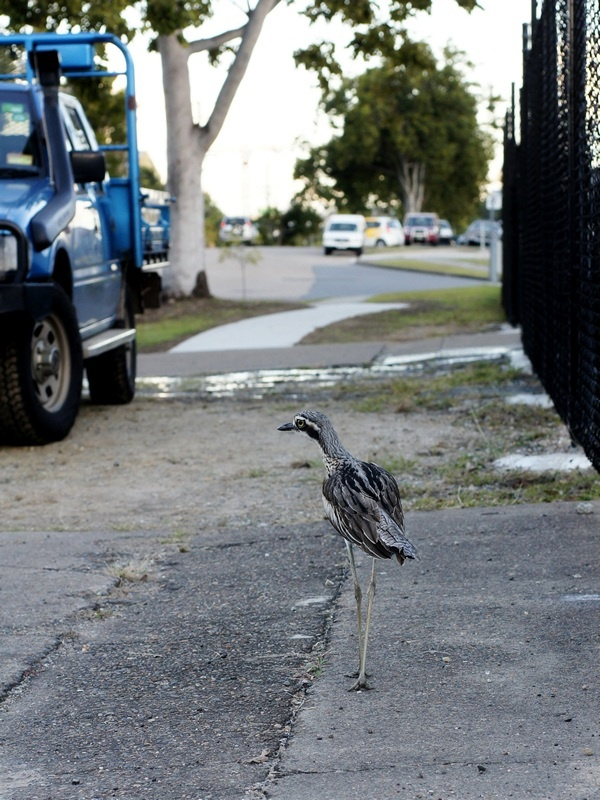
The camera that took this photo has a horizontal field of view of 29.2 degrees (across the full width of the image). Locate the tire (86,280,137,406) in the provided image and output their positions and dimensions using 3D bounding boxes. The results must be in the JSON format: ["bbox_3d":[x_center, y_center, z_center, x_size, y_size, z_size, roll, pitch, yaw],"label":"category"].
[{"bbox_3d":[-1.765,-0.517,10.615,0.346,0.989,0.981,-3,16,7],"label":"tire"}]

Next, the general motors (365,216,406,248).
[{"bbox_3d":[3.632,-7.758,53.943,2.089,1.064,1.302,9,21,21],"label":"general motors"}]

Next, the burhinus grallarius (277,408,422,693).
[{"bbox_3d":[0.172,0.497,3.771,0.443,0.823,1.140,-3,12,-1],"label":"burhinus grallarius"}]
